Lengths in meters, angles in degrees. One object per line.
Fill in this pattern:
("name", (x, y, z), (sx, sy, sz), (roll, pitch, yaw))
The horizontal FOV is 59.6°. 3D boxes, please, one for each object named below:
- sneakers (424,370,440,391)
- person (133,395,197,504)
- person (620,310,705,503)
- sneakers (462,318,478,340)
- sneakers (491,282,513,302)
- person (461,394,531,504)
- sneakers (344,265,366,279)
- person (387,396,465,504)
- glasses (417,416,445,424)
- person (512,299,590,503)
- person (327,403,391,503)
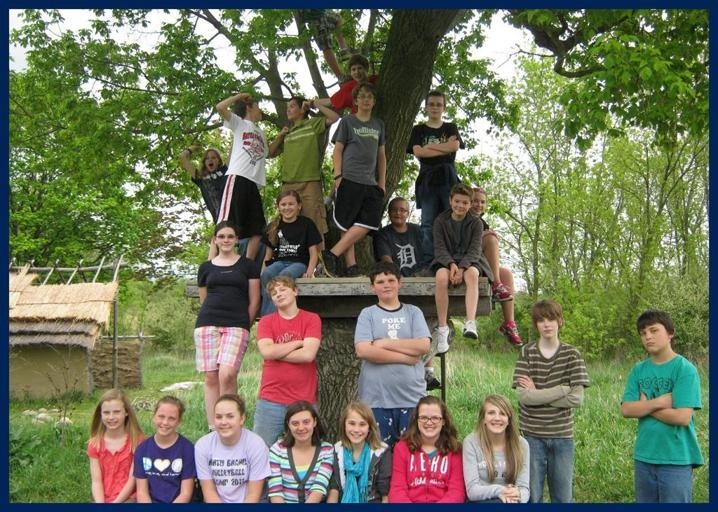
("sneakers", (0.996, 1.715, 8.664), (0.192, 0.232, 0.551), (0, -15, -15))
("person", (-2.009, 2.004, 6.501), (0.655, 1.069, 0.323), (1, -10, -8))
("person", (3.055, 1.516, 6.359), (0.710, 1.928, 0.288), (-5, -10, 23))
("sneakers", (1.411, 0.938, 7.839), (0.147, 0.175, 0.397), (3, -16, -1))
("sneakers", (2.001, 0.516, 8.754), (0.248, 0.243, 0.335), (-4, -10, 17))
("person", (1.388, 1.956, 6.381), (0.679, 1.048, 0.389), (-2, -10, 9))
("sneakers", (-0.092, 0.222, 8.244), (0.126, 0.118, 0.283), (4, -8, -30))
("person", (0.680, 1.974, 6.410), (0.776, 1.027, 0.251), (-1, -9, 1))
("glasses", (0.736, 1.683, 6.401), (0.232, 0.110, 0.106), (1, -10, -8))
("person", (2.065, 1.559, 6.746), (0.775, 2.164, 0.425), (-3, -10, 13))
("person", (0.060, 2.107, 6.796), (0.852, 1.224, 0.913), (-1, -7, 8))
